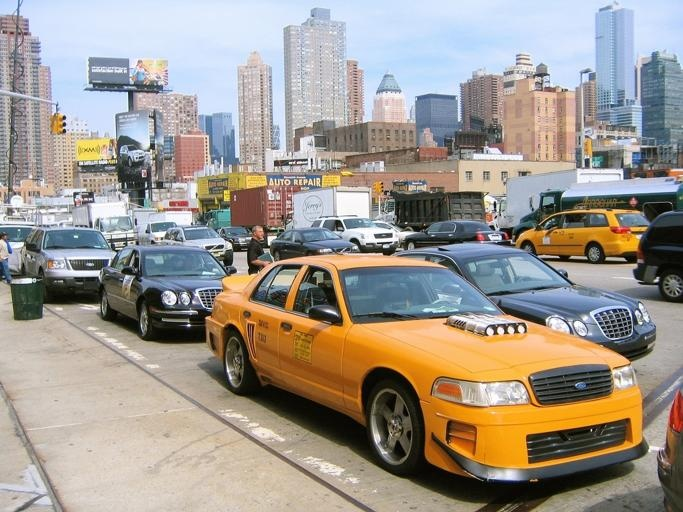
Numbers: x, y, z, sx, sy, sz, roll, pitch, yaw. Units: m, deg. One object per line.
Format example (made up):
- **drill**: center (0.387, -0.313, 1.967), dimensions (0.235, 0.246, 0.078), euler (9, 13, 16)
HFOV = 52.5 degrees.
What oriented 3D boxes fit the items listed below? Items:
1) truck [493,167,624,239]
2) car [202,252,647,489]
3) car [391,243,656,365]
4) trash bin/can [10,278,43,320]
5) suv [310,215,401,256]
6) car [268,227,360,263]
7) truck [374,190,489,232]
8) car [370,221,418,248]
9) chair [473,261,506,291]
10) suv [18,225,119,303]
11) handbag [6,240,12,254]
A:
- **truck**: center (10.214, -2.728, 35.226), dimensions (3.163, 3.155, 5.788), euler (-4, 5, -28)
- **car**: center (0.472, 0.983, 7.265), dimensions (1.947, 1.263, 4.253), euler (0, 2, -35)
- **car**: center (2.368, 0.648, 9.891), dimensions (1.572, 1.071, 3.572), euler (-1, 4, -38)
- **trash bin/can**: center (-6.541, 0.864, 14.683), dimensions (0.782, 0.835, 0.673), euler (-1, 4, 4)
- **suv**: center (0.498, -0.971, 31.018), dimensions (1.725, 1.350, 3.501), euler (-3, 5, -36)
- **car**: center (-1.106, -0.441, 24.713), dimensions (1.320, 1.005, 3.017), euler (-1, -1, -32)
- **truck**: center (5.022, -2.582, 38.151), dimensions (2.561, 1.947, 3.695), euler (-4, 3, -42)
- **car**: center (2.359, -1.077, 33.144), dimensions (2.424, 0.826, 1.134), euler (1, 3, 38)
- **chair**: center (2.123, 0.263, 10.006), dimensions (0.463, 0.458, 0.383), euler (-3, -5, -20)
- **suv**: center (-7.426, 0.081, 18.698), dimensions (1.762, 1.225, 3.134), euler (1, -1, -30)
- **handbag**: center (-11.026, -0.307, 23.076), dimensions (0.121, 0.397, 0.314), euler (-24, 20, -18)
